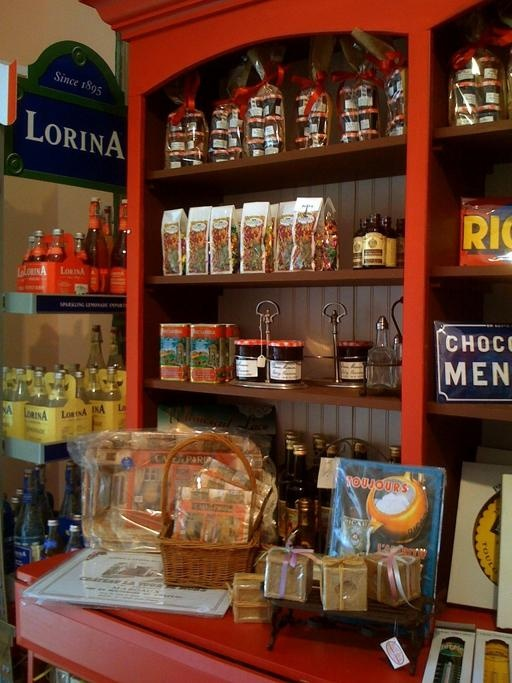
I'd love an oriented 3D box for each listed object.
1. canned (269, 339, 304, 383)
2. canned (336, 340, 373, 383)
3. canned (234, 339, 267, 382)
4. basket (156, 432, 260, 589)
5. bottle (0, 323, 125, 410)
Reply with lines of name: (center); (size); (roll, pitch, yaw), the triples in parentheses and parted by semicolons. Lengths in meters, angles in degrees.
canned: (0.083, 0.058, 1.624); (0.113, 0.120, 0.111); (1, -2, 3)
canned: (0.273, 0.059, 1.630); (0.108, 0.120, 0.109); (1, -2, 8)
canned: (-0.014, 0.062, 1.684); (0.111, 0.117, 0.112); (0, -3, 1)
basket: (-0.112, 0.401, 1.403); (0.242, 0.357, 0.375); (1, -1, -6)
bottle: (-0.686, 0.094, 2.192); (0.388, 0.365, 0.370); (0, -1, -44)
